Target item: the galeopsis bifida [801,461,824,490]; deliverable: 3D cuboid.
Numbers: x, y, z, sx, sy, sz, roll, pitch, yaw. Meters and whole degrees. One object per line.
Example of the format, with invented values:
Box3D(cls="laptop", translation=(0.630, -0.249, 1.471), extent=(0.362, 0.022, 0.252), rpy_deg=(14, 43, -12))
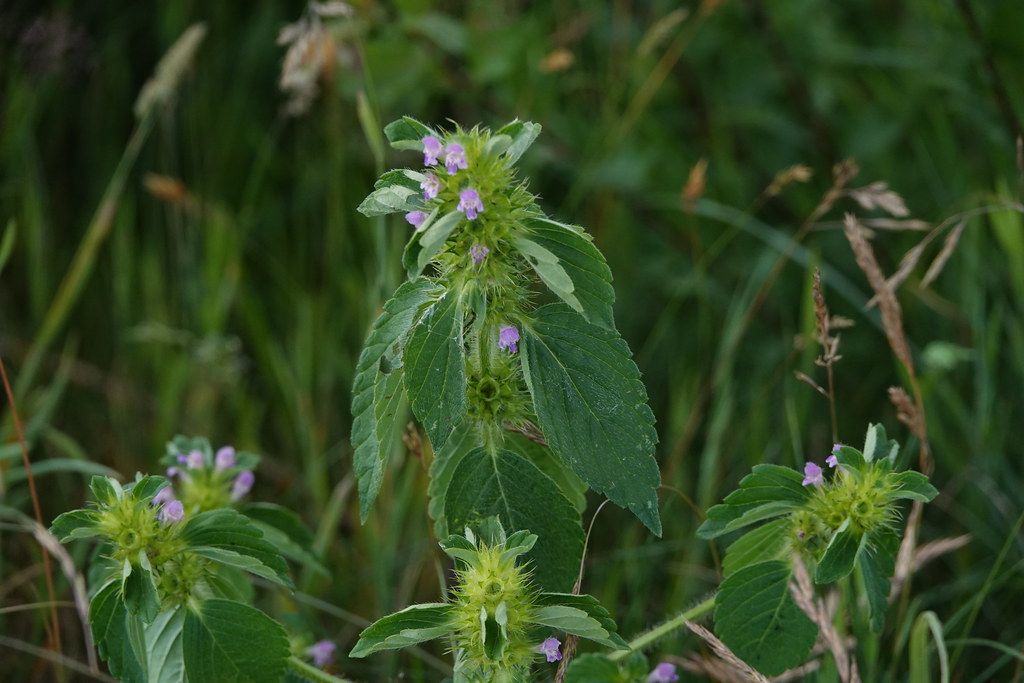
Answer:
Box3D(cls="galeopsis bifida", translation=(0.831, 0.369, 3.017), extent=(0.061, 0.068, 0.033), rpy_deg=(-20, 41, 8))
